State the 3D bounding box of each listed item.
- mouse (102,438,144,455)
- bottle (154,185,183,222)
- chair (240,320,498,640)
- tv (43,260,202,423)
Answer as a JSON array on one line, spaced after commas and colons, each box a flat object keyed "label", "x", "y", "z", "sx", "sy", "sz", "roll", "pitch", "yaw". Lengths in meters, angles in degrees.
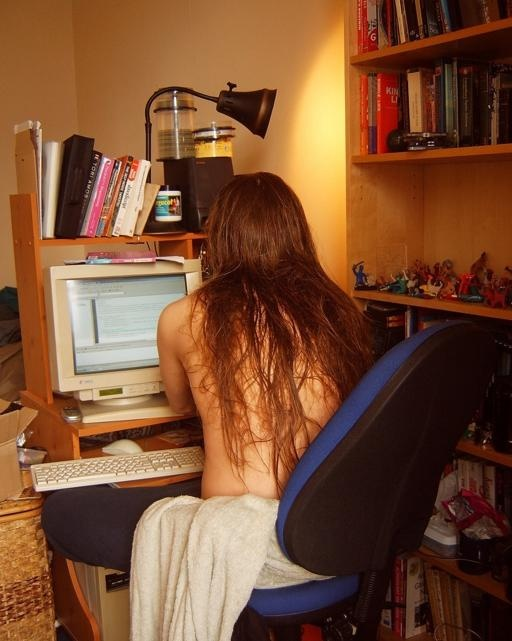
[{"label": "mouse", "x": -0.358, "y": 0.339, "z": 1.485, "sx": 0.082, "sy": 0.026, "sz": 0.049, "roll": 6, "pitch": 1, "yaw": -23}, {"label": "bottle", "x": -0.281, "y": -0.379, "z": 1.791, "sx": 0.104, "sy": 0.112, "sz": 0.102, "roll": -1, "pitch": 7, "yaw": -7}, {"label": "chair", "x": 0.192, "y": 0.277, "z": 0.827, "sx": 0.198, "sy": 0.555, "sz": 0.309, "roll": 7, "pitch": 11, "yaw": 42}, {"label": "tv", "x": -0.324, "y": 0.046, "z": 1.759, "sx": 0.575, "sy": 0.595, "sz": 0.389, "roll": -3, "pitch": 4, "yaw": -30}]
